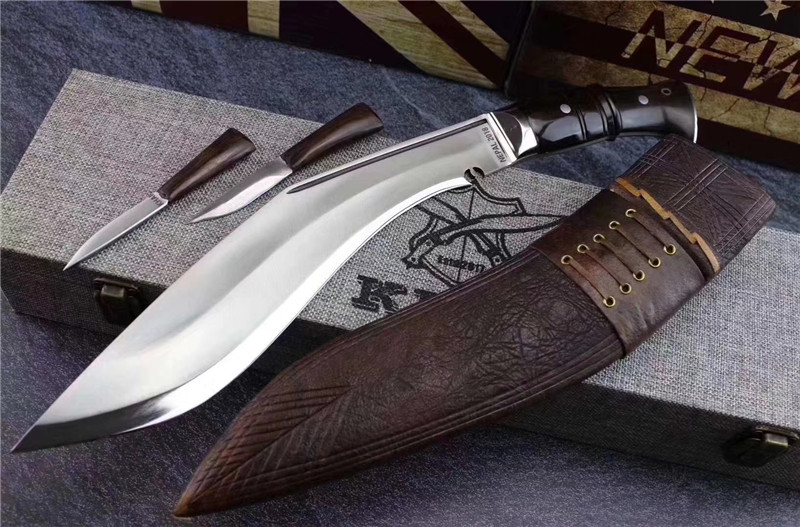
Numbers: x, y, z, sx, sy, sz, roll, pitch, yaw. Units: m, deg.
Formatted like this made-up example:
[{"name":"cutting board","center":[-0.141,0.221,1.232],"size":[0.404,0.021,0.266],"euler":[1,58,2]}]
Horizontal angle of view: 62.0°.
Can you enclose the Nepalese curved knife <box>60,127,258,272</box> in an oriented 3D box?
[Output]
[{"name":"Nepalese curved knife","center":[-0.339,-0.128,1.145],"size":[0.498,0.040,0.105],"euler":[-29,58,-22]}]
